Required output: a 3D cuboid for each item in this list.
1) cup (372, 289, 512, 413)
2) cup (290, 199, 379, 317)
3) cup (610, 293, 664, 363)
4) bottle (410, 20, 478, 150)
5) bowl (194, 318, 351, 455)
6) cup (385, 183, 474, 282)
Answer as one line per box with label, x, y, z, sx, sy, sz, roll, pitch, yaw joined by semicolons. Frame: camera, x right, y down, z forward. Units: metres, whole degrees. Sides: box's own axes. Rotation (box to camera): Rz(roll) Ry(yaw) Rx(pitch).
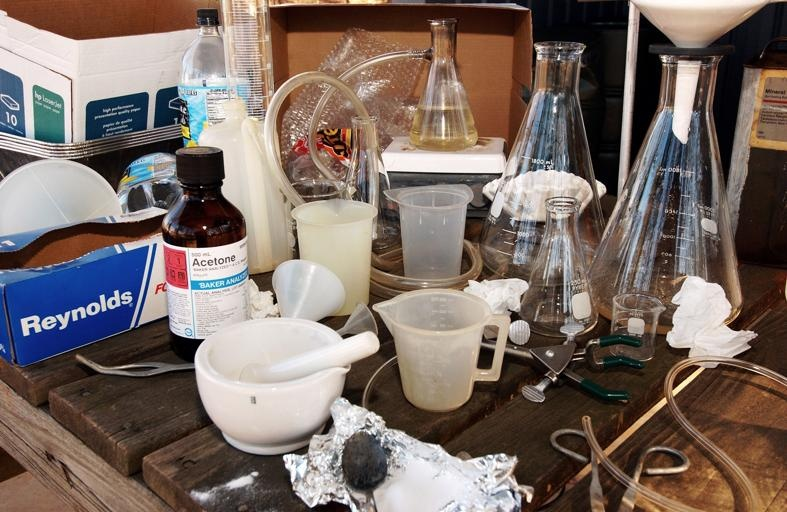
cup;0.080;0.162;0.931;0.215;0.149;0.164;4;19;12
cup;-0.073;-0.004;1.170;0.233;0.242;0.204;1;8;5
cup;0.420;0.124;1.048;0.117;0.111;0.096;9;19;29
bottle;0.121;-0.411;1.380;0.144;0.299;0.141;-1;22;1
bowl;-0.179;0.202;0.873;0.242;0.127;0.219;7;20;14
cup;0.082;-0.049;1.184;0.199;0.181;0.155;-12;21;-22
